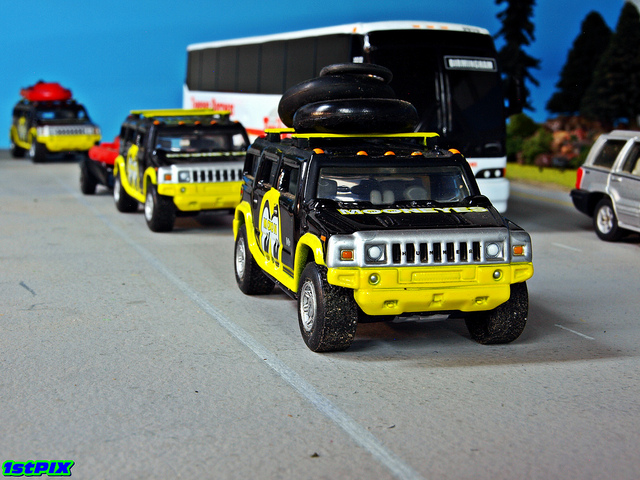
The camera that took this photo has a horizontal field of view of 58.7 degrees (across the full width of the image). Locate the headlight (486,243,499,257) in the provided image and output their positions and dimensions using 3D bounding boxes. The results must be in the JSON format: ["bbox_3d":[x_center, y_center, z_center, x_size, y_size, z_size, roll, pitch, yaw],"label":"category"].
[{"bbox_3d":[1.893,0.104,6.258,0.137,0.137,0.033,3,2,-15],"label":"headlight"}]

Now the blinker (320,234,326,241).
[{"bbox_3d":[0.029,-0.027,6.232,0.042,0.082,0.076,-13,18,-32],"label":"blinker"}]

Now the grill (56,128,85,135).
[{"bbox_3d":[-12.109,-5.277,27.495,1.271,0.315,0.092,-2,10,-17],"label":"grill"}]

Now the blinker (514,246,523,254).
[{"bbox_3d":[2.209,0.110,6.358,0.082,0.082,0.022,1,3,-7],"label":"blinker"}]

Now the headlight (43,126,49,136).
[{"bbox_3d":[-13.187,-5.246,27.297,0.296,0.419,0.101,0,2,12],"label":"headlight"}]

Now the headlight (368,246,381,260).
[{"bbox_3d":[0.573,0.129,5.996,0.121,0.121,0.073,-16,-1,-10],"label":"headlight"}]

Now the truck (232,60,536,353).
[{"bbox_3d":[0.606,-0.687,8.482,2.590,3.120,5.281,-1,9,-16],"label":"truck"}]
